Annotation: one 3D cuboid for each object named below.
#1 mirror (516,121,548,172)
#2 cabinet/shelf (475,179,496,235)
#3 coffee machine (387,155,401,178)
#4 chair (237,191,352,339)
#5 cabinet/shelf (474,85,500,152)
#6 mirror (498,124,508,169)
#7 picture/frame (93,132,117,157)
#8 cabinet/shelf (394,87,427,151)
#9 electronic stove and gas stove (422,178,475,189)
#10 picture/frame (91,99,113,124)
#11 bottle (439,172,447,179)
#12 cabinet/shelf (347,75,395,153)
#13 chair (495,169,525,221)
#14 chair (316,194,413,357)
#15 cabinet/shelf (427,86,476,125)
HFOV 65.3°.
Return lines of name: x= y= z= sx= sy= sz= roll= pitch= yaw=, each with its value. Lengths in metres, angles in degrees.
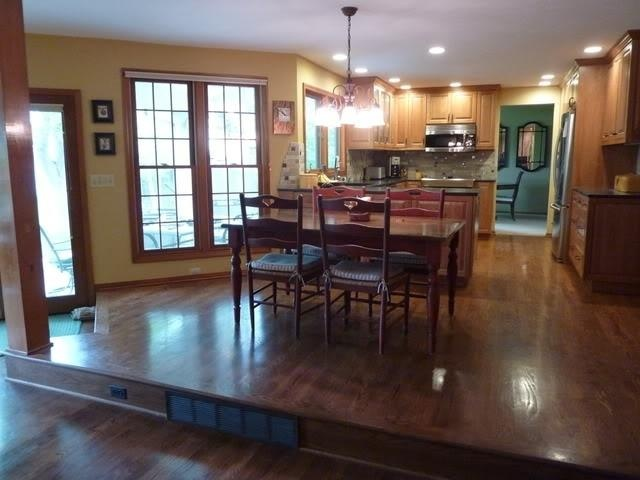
mirror: x=4.633 y=-2.019 z=10.895 sx=0.628 sy=1.193 sz=0.047 roll=3 pitch=-10 yaw=18
cabinet/shelf: x=2.709 y=-0.513 z=8.100 sx=0.281 sy=0.904 sz=0.360 roll=-3 pitch=11 yaw=10
coffee machine: x=1.297 y=-1.278 z=8.711 sx=0.229 sy=0.356 sz=0.473 roll=-3 pitch=11 yaw=8
chair: x=-0.293 y=0.179 z=4.259 sx=0.682 sy=1.073 sz=0.752 roll=3 pitch=5 yaw=32
cabinet/shelf: x=2.717 y=-1.885 z=8.200 sx=0.294 sy=1.213 sz=0.421 roll=0 pitch=-23 yaw=17
mirror: x=4.098 y=-2.080 z=11.124 sx=0.218 sy=0.979 sz=0.121 roll=2 pitch=13 yaw=29
picture/frame: x=-2.262 y=-1.006 z=5.195 sx=0.250 sy=0.315 sz=0.034 roll=-1 pitch=4 yaw=-16
cabinet/shelf: x=1.580 y=-2.068 z=8.522 sx=0.311 sy=0.914 sz=0.523 roll=-25 pitch=24 yaw=-30
electronic stove and gas stove: x=2.131 y=-0.955 z=8.357 sx=0.897 sy=0.172 sz=0.686 roll=-2 pitch=11 yaw=11
picture/frame: x=-2.276 y=-1.337 z=5.156 sx=0.239 sy=0.288 sz=0.030 roll=-3 pitch=10 yaw=-29
bottle: x=2.152 y=-1.130 z=8.724 sx=0.116 sy=0.113 sz=0.028 roll=5 pitch=0 yaw=33
cabinet/shelf: x=0.831 y=-1.955 z=7.808 sx=0.434 sy=1.131 sz=1.310 roll=4 pitch=15 yaw=21
chair: x=3.908 y=-0.917 z=10.518 sx=0.615 sy=0.867 sz=0.548 roll=4 pitch=1 yaw=9
chair: x=0.365 y=0.221 z=3.914 sx=0.729 sy=1.122 sz=0.697 roll=8 pitch=11 yaw=43
cabinet/shelf: x=2.197 y=-2.244 z=8.304 sx=0.821 sy=0.530 sz=0.425 roll=5 pitch=30 yaw=21
